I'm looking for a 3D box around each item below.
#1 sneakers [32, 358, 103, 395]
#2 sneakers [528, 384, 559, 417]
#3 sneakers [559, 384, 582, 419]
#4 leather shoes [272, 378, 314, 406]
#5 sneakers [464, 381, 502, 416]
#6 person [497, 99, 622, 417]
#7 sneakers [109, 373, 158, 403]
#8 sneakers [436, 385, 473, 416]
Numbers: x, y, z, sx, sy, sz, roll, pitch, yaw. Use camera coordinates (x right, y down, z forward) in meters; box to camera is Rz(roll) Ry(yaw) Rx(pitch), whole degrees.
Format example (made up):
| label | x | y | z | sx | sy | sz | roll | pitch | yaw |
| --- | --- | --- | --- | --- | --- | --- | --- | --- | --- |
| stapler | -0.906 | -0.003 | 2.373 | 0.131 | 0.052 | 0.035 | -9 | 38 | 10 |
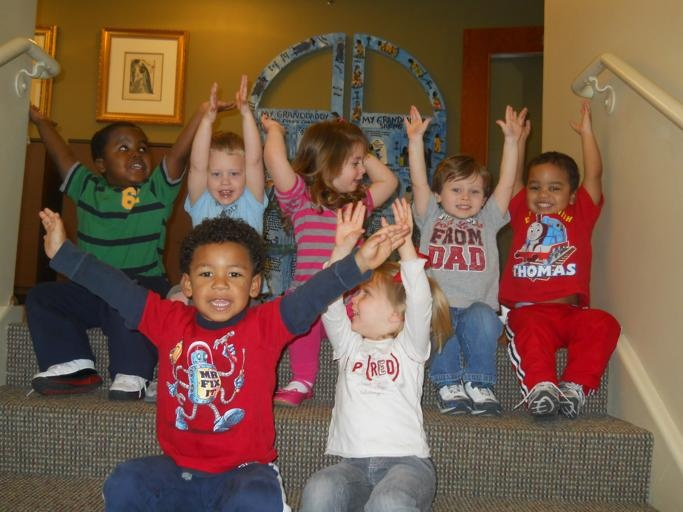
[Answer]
| label | x | y | z | sx | sy | sz | roll | pitch | yaw |
| --- | --- | --- | --- | --- | --- | --- | --- | --- | --- |
| sneakers | -0.993 | 0.447 | 2.187 | 0.266 | 0.130 | 0.100 | 5 | -27 | -27 |
| sneakers | 0.725 | 0.506 | 2.083 | 0.129 | 0.114 | 0.080 | 2 | 8 | 2 |
| sneakers | 0.841 | 0.525 | 2.139 | 0.094 | 0.120 | 0.088 | 4 | 8 | 15 |
| leather shoes | -0.187 | 0.505 | 2.147 | 0.056 | 0.064 | 0.155 | -5 | -14 | 23 |
| sneakers | 0.518 | 0.518 | 2.132 | 0.065 | 0.068 | 0.148 | 2 | -7 | -14 |
| person | 0.883 | -0.027 | 2.335 | 0.469 | 1.191 | 0.783 | 4 | 8 | 15 |
| sneakers | -0.746 | 0.498 | 2.155 | 0.078 | 0.094 | 0.228 | 3 | -25 | 9 |
| sneakers | 0.416 | 0.519 | 2.137 | 0.112 | 0.093 | 0.070 | 1 | 8 | -9 |
